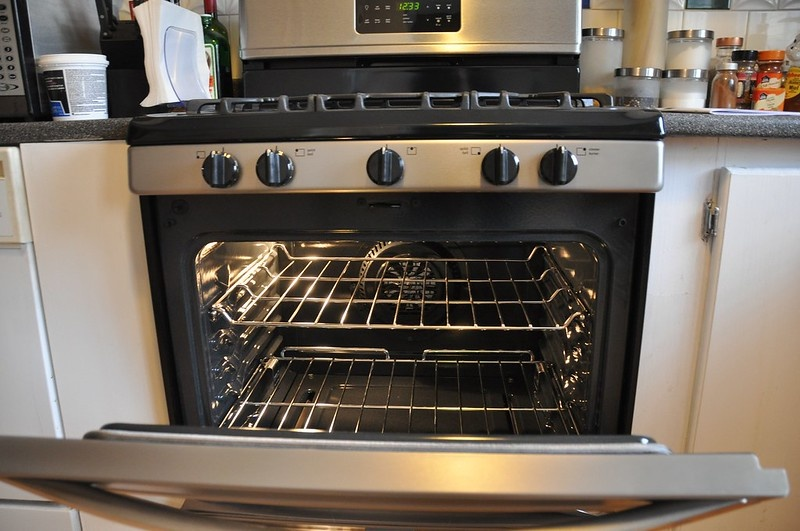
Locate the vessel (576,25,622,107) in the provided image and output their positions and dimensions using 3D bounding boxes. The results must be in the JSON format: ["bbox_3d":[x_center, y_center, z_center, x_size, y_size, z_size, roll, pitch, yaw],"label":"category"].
[{"bbox_3d":[0.632,-0.624,1.985,0.140,0.215,0.143,6,8,35],"label":"vessel"}]

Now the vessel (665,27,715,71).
[{"bbox_3d":[0.889,-0.661,1.959,0.155,0.149,0.147,1,14,7],"label":"vessel"}]

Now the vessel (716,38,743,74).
[{"bbox_3d":[1.054,-0.675,2.011,0.080,0.109,0.075,-4,20,-14],"label":"vessel"}]

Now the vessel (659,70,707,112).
[{"bbox_3d":[0.870,-0.528,1.905,0.143,0.127,0.136,-2,18,4],"label":"vessel"}]
